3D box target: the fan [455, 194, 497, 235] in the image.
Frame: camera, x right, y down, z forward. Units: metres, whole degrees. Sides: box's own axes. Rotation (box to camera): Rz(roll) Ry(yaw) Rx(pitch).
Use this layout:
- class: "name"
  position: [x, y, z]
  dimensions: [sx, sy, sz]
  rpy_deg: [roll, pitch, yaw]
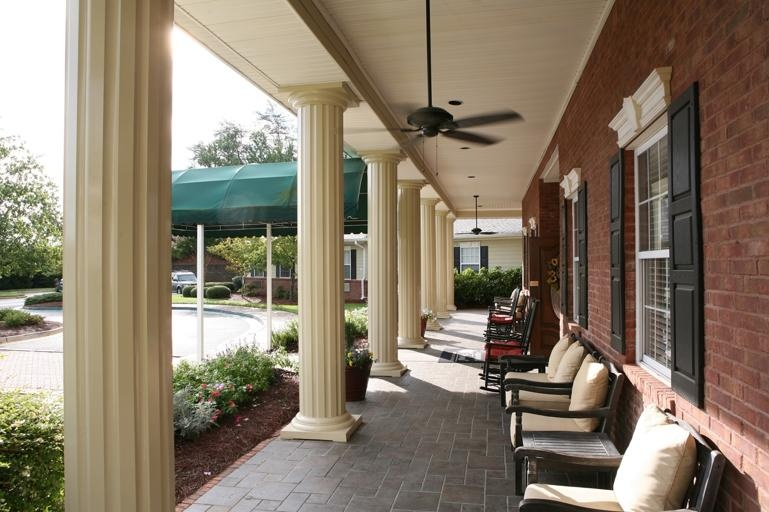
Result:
- class: "fan"
  position: [3.545, -1.567, 20.829]
  dimensions: [1.816, 1.631, 1.745]
  rpy_deg: [-6, 6, -42]

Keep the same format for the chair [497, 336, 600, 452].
- class: "chair"
  position: [2.007, 1.613, 6.703]
  dimensions: [0.861, 0.848, 1.811]
  rpy_deg: [-16, -10, 11]

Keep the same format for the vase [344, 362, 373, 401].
- class: "vase"
  position: [-0.405, 1.908, 8.215]
  dimensions: [0.563, 0.470, 0.501]
  rpy_deg: [0, -5, -1]

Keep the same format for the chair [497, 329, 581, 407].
- class: "chair"
  position: [1.816, 1.400, 6.385]
  dimensions: [0.897, 1.014, 1.101]
  rpy_deg: [0, -4, 9]

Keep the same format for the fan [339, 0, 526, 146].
- class: "fan"
  position: [0.625, -1.976, 6.148]
  dimensions: [1.638, 1.477, 1.537]
  rpy_deg: [-4, -7, 22]

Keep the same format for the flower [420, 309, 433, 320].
- class: "flower"
  position: [1.094, 1.558, 14.431]
  dimensions: [0.245, 0.174, 0.243]
  rpy_deg: [2, -6, 17]
